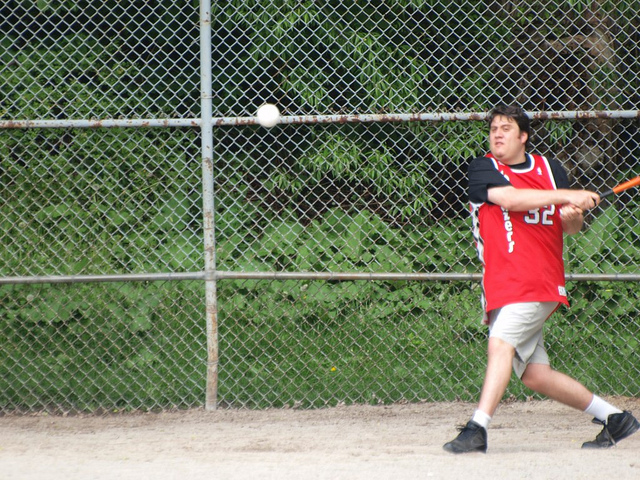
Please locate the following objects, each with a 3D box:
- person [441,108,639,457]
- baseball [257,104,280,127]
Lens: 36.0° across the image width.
[{"bbox_3d":[1.445,0.293,7.026,1.134,2.386,0.875,0,13,5],"label":"person"},{"bbox_3d":[-0.360,-0.977,7.694,0.165,0.172,0.171,-2,13,-5],"label":"baseball"}]
